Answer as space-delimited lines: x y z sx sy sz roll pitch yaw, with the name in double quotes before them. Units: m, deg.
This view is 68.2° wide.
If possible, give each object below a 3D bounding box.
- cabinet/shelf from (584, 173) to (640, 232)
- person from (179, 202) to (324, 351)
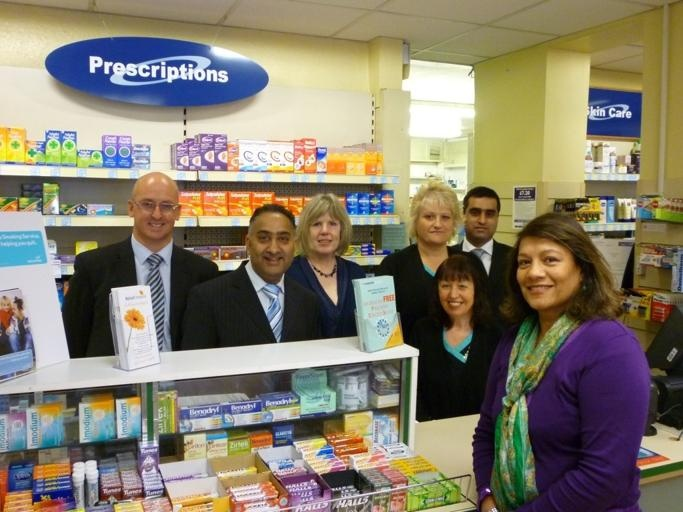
"cabinet/shelf" 3.347 -0.667 6.312 0.929 0.799 0.305 2 -4 -21
"person" -0.484 0.120 2.577 0.681 0.738 0.365 -4 5 2
